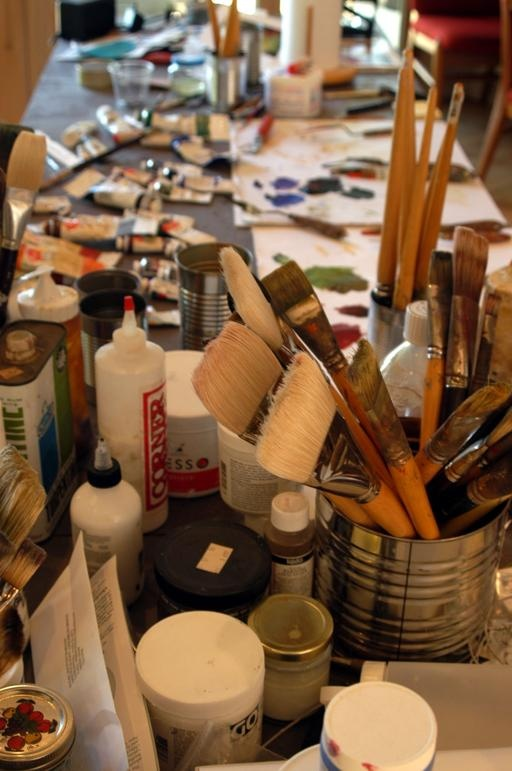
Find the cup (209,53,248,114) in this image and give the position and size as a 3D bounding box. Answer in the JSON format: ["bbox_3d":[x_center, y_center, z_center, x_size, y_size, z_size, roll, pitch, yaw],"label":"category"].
[{"bbox_3d":[-0.077,-0.751,1.513,0.097,0.106,0.095,1,42,-1],"label":"cup"}]

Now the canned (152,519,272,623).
[{"bbox_3d":[-0.026,0.142,0.425,0.075,0.073,0.073,-1,33,-3],"label":"canned"}]

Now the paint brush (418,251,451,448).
[{"bbox_3d":[0.113,-0.024,0.424,0.024,0.131,0.015,6,-1,-31],"label":"paint brush"}]

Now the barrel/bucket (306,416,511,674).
[{"bbox_3d":[0.074,0.105,0.417,0.116,0.124,0.117,-1,40,0],"label":"barrel/bucket"}]

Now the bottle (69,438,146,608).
[{"bbox_3d":[-0.107,0.102,0.447,0.049,0.138,0.041,-7,24,-11],"label":"bottle"}]

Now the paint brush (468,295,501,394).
[{"bbox_3d":[0.180,-0.042,0.480,0.011,0.093,0.022,-6,-7,-1],"label":"paint brush"}]

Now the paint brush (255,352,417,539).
[{"bbox_3d":[0.062,0.030,0.309,0.109,0.061,0.030,34,-21,-34],"label":"paint brush"}]

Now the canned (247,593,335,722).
[{"bbox_3d":[0.025,0.174,0.412,0.066,0.071,0.065,1,36,0],"label":"canned"}]

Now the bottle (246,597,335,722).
[{"bbox_3d":[0.022,0.169,0.387,0.050,0.068,0.053,-1,24,1],"label":"bottle"}]

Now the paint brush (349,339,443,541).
[{"bbox_3d":[0.076,0.035,0.332,0.017,0.114,0.014,-31,24,-7],"label":"paint brush"}]

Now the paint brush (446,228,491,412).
[{"bbox_3d":[0.140,-0.048,0.416,0.025,0.128,0.014,10,-13,-10],"label":"paint brush"}]

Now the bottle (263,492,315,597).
[{"bbox_3d":[0.024,0.122,0.443,0.036,0.092,0.036,-1,24,1],"label":"bottle"}]

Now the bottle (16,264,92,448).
[{"bbox_3d":[-0.189,-0.026,0.595,0.055,0.182,0.118,-9,25,-15],"label":"bottle"}]
